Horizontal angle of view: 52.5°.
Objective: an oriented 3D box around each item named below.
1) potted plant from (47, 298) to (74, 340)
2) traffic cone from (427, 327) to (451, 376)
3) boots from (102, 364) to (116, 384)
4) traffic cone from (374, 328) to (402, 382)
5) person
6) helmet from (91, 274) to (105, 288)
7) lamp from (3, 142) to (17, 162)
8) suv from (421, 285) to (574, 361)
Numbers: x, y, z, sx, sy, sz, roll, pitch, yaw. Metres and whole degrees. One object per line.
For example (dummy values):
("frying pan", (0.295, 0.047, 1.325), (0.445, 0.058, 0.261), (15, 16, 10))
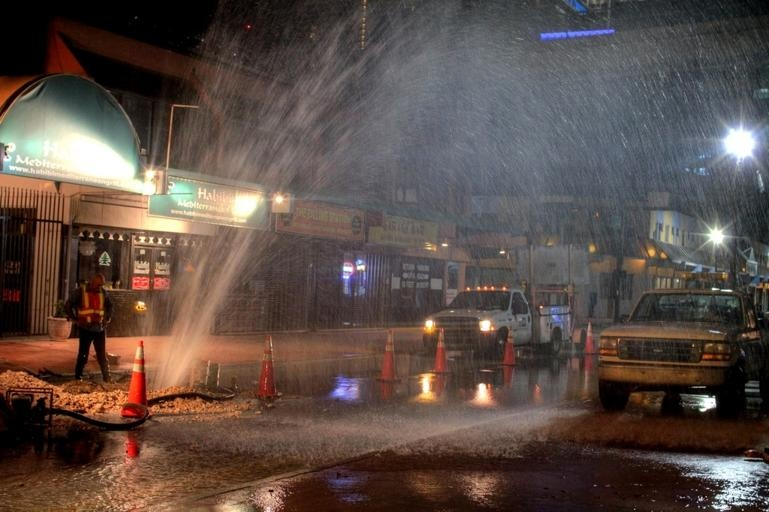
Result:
("potted plant", (-9.476, 1.883, 22.870), (0.818, 1.130, 0.864), (6, 0, 34))
("traffic cone", (1.602, 2.597, 21.202), (0.839, 1.190, 0.934), (0, -8, -9))
("boots", (-6.162, 2.654, 17.483), (0.315, 0.396, 1.254), (3, -10, -19))
("traffic cone", (0.111, 2.527, 19.843), (0.720, 1.246, 0.741), (2, 0, 37))
("person", (-6.520, 1.576, 17.524), (1.009, 2.467, 0.559), (0, -8, 3))
("helmet", (-6.533, 0.513, 17.754), (0.257, 0.383, 0.357), (8, 9, -6))
("lamp", (-9.442, -2.636, 19.826), (0.362, 0.418, 0.335), (2, -14, -6))
("suv", (3.913, 2.102, 25.055), (2.152, 2.051, 4.702), (-6, -11, 39))
